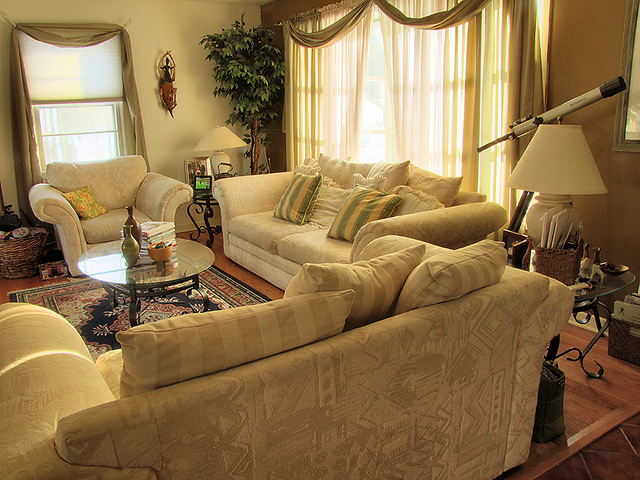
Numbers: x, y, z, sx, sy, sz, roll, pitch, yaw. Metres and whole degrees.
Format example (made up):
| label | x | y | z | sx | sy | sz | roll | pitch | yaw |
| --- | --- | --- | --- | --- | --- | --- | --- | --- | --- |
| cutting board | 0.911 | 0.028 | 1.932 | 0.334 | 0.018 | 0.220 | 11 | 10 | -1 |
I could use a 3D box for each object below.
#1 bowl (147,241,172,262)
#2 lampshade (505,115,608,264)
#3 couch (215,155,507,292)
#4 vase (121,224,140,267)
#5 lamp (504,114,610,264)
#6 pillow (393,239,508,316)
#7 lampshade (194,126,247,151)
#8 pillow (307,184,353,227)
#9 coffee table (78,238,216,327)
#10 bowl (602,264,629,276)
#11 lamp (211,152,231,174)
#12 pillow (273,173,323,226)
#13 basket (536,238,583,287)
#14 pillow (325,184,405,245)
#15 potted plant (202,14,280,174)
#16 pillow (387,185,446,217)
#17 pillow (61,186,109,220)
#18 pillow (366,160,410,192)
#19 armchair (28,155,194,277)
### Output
| label | x | y | z | sx | sy | sz | roll | pitch | yaw |
| --- | --- | --- | --- | --- | --- | --- | --- | --- | --- |
| bowl | -1.151 | 0.092 | 3.411 | 0.146 | 0.114 | 0.147 | -1 | -5 | 0 |
| lampshade | 1.453 | -0.289 | 2.943 | 0.584 | 0.924 | 0.588 | -5 | 13 | -13 |
| couch | 0.261 | -0.163 | 4.232 | 1.488 | 1.130 | 2.283 | -8 | 15 | -33 |
| vase | -1.328 | 0.032 | 3.339 | 0.107 | 0.290 | 0.165 | -4 | 14 | -17 |
| lamp | 1.454 | -0.298 | 2.930 | 0.591 | 0.924 | 0.580 | 2 | 12 | 1 |
| pillow | 0.488 | 0.216 | 2.051 | 0.558 | 0.259 | 0.225 | -18 | -6 | -26 |
| lampshade | -1.152 | -1.168 | 5.477 | 0.361 | 0.216 | 0.346 | -13 | 18 | -17 |
| pillow | 0.077 | -0.318 | 4.347 | 0.118 | 0.378 | 0.397 | 23 | -3 | -33 |
| coffee table | -1.162 | 0.404 | 3.508 | 0.737 | 0.427 | 0.840 | -9 | 7 | -25 |
| bowl | 1.734 | 0.176 | 2.770 | 0.186 | 0.029 | 0.094 | -9 | 16 | -37 |
| lamp | -1.231 | -0.988 | 5.864 | 0.245 | 0.318 | 0.247 | -8 | 17 | -14 |
| pillow | -0.198 | -0.387 | 4.424 | 0.148 | 0.459 | 0.475 | 21 | -1 | -42 |
| basket | 1.313 | 0.107 | 2.649 | 0.220 | 0.229 | 0.226 | 5 | 12 | 15 |
| pillow | 0.364 | -0.220 | 3.735 | 0.155 | 0.490 | 0.500 | 30 | -9 | -32 |
| potted plant | -0.904 | -1.735 | 5.806 | 0.926 | 1.826 | 0.812 | -3 | 14 | -12 |
| pillow | 0.722 | -0.292 | 3.629 | 0.246 | 0.091 | 0.287 | -19 | 21 | -12 |
| pillow | -2.313 | -0.380 | 4.728 | 0.286 | 0.296 | 0.376 | 6 | 14 | 26 |
| pillow | 0.573 | -0.530 | 3.951 | 0.118 | 0.286 | 0.308 | -2 | 11 | -38 |
| armchair | -2.182 | -0.248 | 4.924 | 1.459 | 1.100 | 0.960 | -13 | 20 | -37 |
